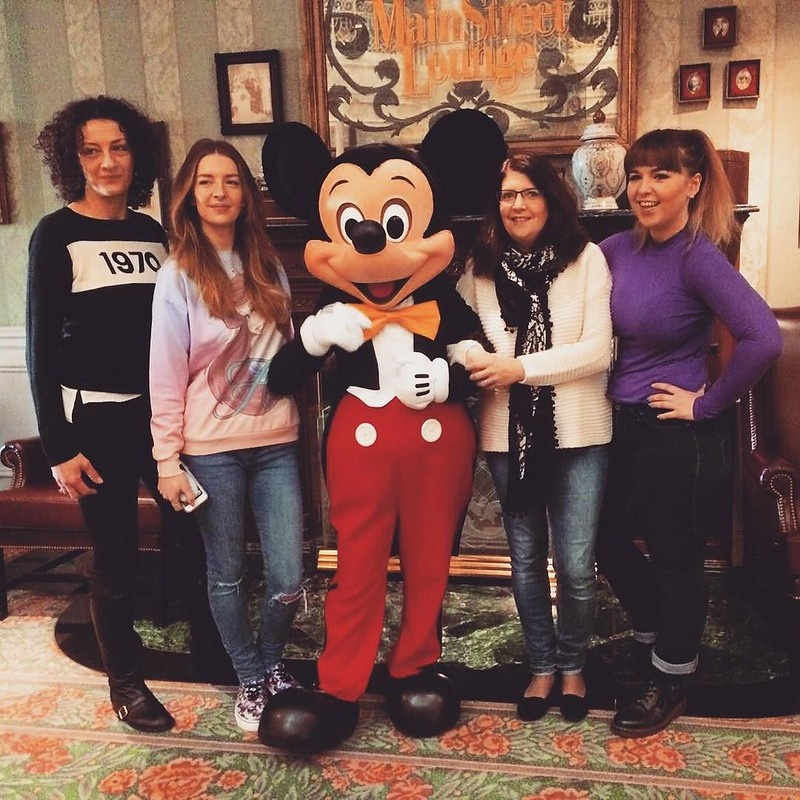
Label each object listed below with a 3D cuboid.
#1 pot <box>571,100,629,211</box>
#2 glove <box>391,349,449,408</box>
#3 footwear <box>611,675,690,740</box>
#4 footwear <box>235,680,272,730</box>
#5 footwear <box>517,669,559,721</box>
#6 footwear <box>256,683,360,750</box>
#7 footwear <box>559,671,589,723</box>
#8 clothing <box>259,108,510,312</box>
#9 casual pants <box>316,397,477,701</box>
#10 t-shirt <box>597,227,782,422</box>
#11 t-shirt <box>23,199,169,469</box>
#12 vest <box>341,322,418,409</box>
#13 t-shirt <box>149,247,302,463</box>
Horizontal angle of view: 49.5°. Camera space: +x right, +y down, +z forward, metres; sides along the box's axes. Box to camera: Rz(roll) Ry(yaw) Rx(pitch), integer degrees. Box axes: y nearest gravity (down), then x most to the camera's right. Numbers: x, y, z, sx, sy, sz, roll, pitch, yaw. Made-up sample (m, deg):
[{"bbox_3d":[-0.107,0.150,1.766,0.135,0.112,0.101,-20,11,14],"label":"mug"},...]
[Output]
[{"bbox_3d":[0.723,-0.871,3.114,0.210,0.335,0.211,-1,8,0],"label":"pot"},{"bbox_3d":[0.058,-0.047,2.204,0.118,0.142,0.062,-1,-16,-9],"label":"glove"},{"bbox_3d":[0.682,0.815,2.383,0.259,0.149,0.108,-5,8,-31],"label":"footwear"},{"bbox_3d":[-0.410,0.842,2.412,0.076,0.091,0.161,2,9,1],"label":"footwear"},{"bbox_3d":[0.384,0.826,2.408,0.061,0.067,0.179,2,1,22],"label":"footwear"},{"bbox_3d":[-0.241,0.819,2.266,0.240,0.084,0.134,2,14,-21],"label":"footwear"},{"bbox_3d":[0.478,0.814,2.373,0.055,0.060,0.160,-3,13,8],"label":"footwear"},{"bbox_3d":[-0.036,-0.504,2.411,0.956,0.491,0.020,1,3,-1],"label":"clothing"},{"bbox_3d":[-0.019,0.404,2.342,0.471,0.883,0.240,0,-4,-2],"label":"casual pants"},{"bbox_3d":[0.760,-0.187,2.319,0.232,0.415,0.629,-17,16,-26],"label":"t-shirt"},{"bbox_3d":[-0.805,-0.189,2.347,0.399,0.648,0.229,-9,16,-25],"label":"t-shirt"},{"bbox_3d":[-0.041,-0.083,2.184,0.161,0.202,0.063,6,0,0],"label":"vest"},{"bbox_3d":[-0.478,-0.108,2.300,0.412,0.544,0.183,-8,16,-22],"label":"t-shirt"}]
